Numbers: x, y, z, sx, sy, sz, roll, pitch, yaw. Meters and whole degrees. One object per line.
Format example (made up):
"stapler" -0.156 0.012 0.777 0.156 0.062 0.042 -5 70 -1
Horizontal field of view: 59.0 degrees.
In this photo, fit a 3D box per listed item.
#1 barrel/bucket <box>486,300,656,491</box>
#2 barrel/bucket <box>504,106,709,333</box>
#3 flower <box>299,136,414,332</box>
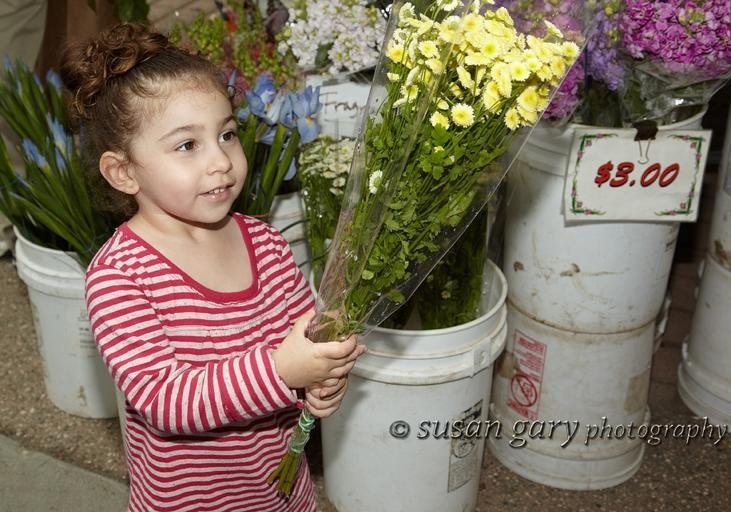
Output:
"barrel/bucket" 0.808 0.485 2.713 0.605 0.758 0.649 1 24 0
"barrel/bucket" 0.816 -0.251 2.481 0.707 0.826 0.692 -3 30 2
"flower" -0.037 -0.077 2.122 0.310 0.305 0.689 3 48 -1
